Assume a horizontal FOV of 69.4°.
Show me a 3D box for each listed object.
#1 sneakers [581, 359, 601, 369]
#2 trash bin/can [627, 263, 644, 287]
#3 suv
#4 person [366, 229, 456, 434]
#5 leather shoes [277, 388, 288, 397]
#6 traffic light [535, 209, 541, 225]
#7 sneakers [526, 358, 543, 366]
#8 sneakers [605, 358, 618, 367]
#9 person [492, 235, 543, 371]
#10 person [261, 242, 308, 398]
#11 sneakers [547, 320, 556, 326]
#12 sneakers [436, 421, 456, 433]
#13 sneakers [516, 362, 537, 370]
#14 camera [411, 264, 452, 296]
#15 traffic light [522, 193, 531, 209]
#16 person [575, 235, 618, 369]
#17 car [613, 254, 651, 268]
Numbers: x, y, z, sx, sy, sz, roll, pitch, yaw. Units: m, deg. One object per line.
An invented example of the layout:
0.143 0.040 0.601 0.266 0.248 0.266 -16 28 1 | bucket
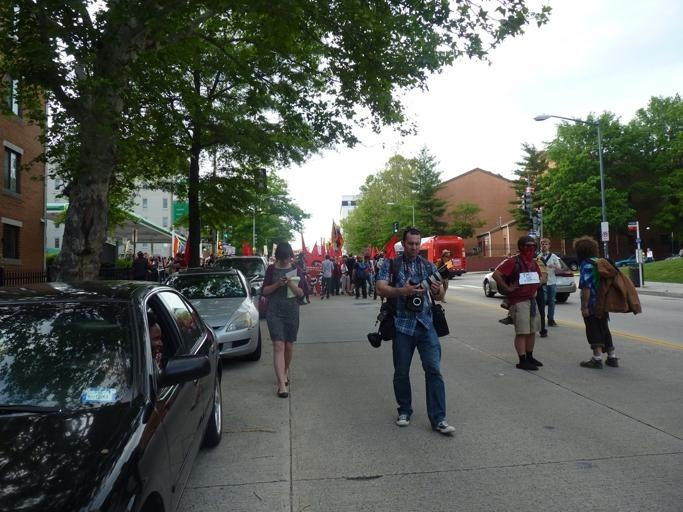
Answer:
3.873 1.637 7.639 0.265 0.129 0.141 4 4 33 | sneakers
13.441 0.829 22.435 0.508 1.046 0.791 -3 -2 31 | trash bin/can
-2.864 0.787 14.156 1.573 1.707 3.287 -1 -5 1 | suv
0.760 0.771 5.278 0.747 1.472 0.454 -2 -1 3 | person
-0.782 1.815 6.578 0.151 0.107 0.185 -2 -2 -7 | leather shoes
8.332 -1.712 20.922 0.140 0.539 0.618 -2 -2 31 | traffic light
3.022 1.651 7.710 0.242 0.109 0.132 16 11 18 | sneakers
4.222 1.637 7.687 0.086 0.117 0.251 -1 3 13 | sneakers
2.757 0.718 7.670 0.612 1.692 1.125 -2 -2 26 | person
-0.783 0.853 6.707 0.582 2.039 0.392 -2 -1 -8 | person
5.057 1.596 11.832 0.220 0.177 0.082 -2 5 42 | sneakers
1.065 1.773 5.118 0.092 0.105 0.237 0 -5 -33 | sneakers
2.870 1.707 7.641 0.280 0.139 0.102 -7 3 26 | sneakers
0.994 0.256 5.248 0.327 0.214 0.138 -31 12 15 | camera
8.322 -2.477 22.115 0.273 0.622 0.636 -2 -2 12 | traffic light
4.047 0.691 7.815 0.566 1.891 0.874 -2 -2 28 | person
22.676 0.349 38.453 2.593 1.029 1.200 1 0 8 | car
